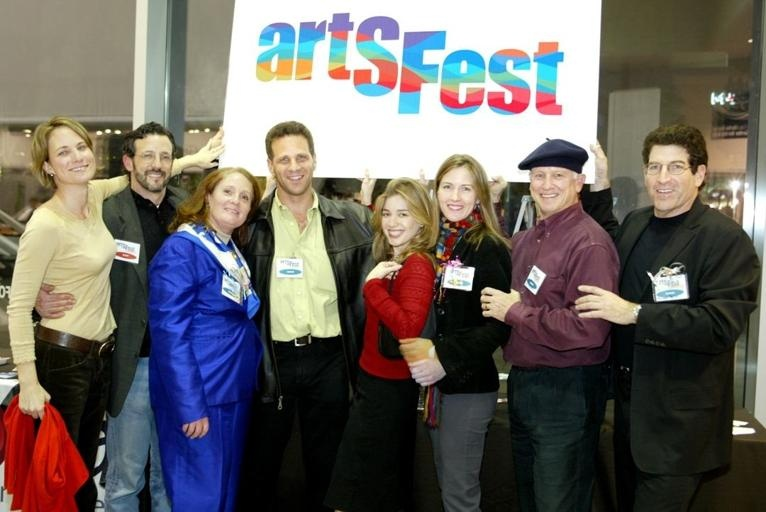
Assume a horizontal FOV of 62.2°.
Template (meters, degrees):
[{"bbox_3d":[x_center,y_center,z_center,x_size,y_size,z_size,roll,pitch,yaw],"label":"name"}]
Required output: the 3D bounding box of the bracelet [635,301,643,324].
[{"bbox_3d":[1.401,0.305,3.482,0.031,0.089,0.065,10,-3,-3],"label":"bracelet"}]
